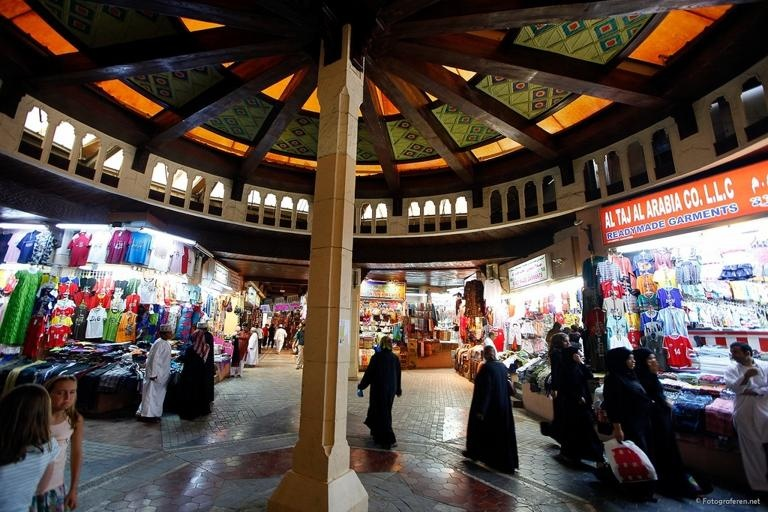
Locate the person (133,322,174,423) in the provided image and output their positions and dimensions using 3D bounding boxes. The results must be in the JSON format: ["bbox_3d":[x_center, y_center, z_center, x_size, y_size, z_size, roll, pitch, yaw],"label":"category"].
[{"bbox_3d":[-5.222,2.675,9.186,0.534,2.128,0.621,9,-15,-28],"label":"person"}]

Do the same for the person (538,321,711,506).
[{"bbox_3d":[4.523,2.823,6.860,1.374,2.413,0.437,4,-14,-10],"label":"person"}]

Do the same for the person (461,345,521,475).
[{"bbox_3d":[2.022,2.882,7.633,0.902,2.255,0.481,-1,-14,11],"label":"person"}]

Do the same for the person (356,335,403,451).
[{"bbox_3d":[-0.093,2.871,8.601,0.853,2.230,0.709,1,-13,0],"label":"person"}]

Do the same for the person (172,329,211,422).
[{"bbox_3d":[-4.541,2.811,9.698,0.754,2.124,0.537,8,-15,-25],"label":"person"}]
